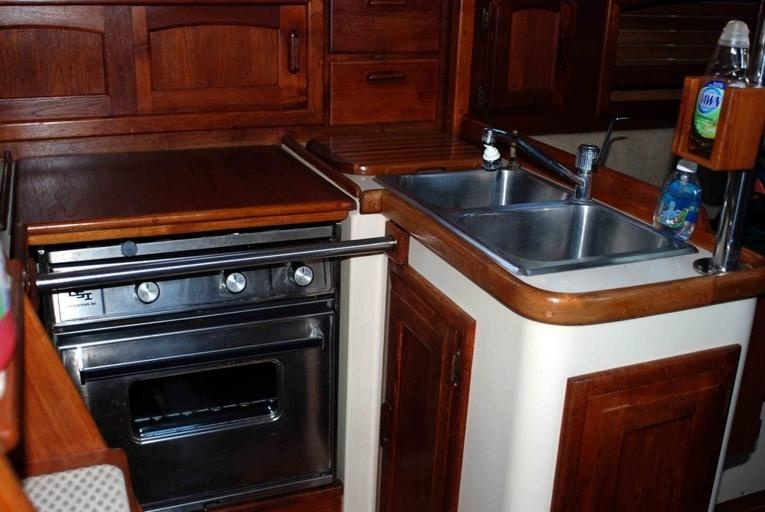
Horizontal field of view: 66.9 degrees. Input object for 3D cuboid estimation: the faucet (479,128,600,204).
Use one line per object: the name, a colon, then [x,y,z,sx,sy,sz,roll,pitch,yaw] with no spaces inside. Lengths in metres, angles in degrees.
faucet: [0.502,-0.280,1.832,0.363,0.137,0.085,33,50,30]

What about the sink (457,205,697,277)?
sink: [0.467,-0.021,1.557,0.530,0.170,0.404,-8,19,-14]

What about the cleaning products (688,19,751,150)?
cleaning products: [0.770,-0.385,1.317,0.101,0.279,0.270,7,22,30]

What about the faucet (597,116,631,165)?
faucet: [0.703,-0.349,1.754,0.041,0.143,0.142,15,10,6]
